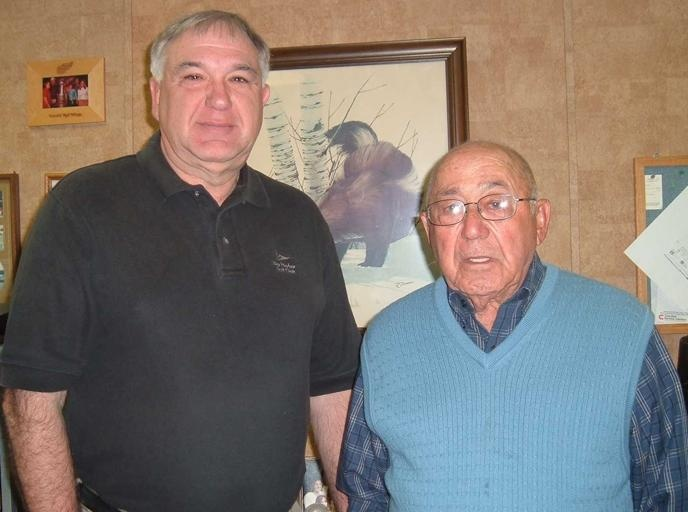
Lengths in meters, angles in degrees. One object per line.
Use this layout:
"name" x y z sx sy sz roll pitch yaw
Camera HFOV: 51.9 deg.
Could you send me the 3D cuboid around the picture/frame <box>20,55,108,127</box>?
"picture/frame" -1.082 -0.643 2.764 0.268 0.235 0.028 -1 -4 4
